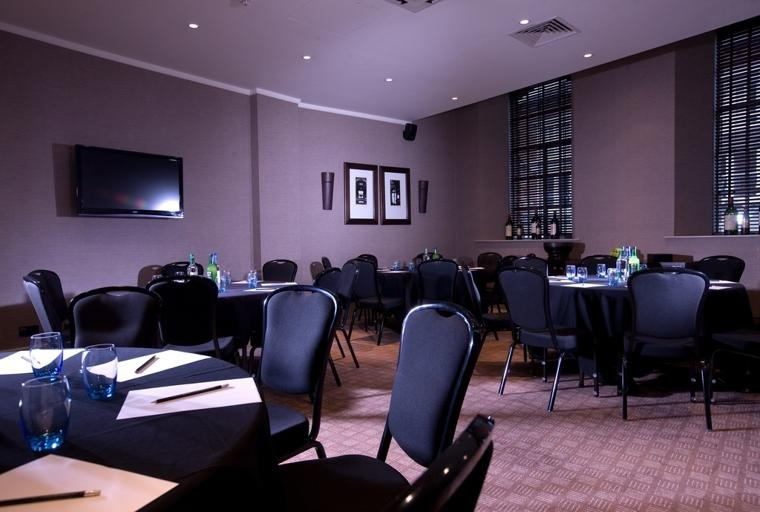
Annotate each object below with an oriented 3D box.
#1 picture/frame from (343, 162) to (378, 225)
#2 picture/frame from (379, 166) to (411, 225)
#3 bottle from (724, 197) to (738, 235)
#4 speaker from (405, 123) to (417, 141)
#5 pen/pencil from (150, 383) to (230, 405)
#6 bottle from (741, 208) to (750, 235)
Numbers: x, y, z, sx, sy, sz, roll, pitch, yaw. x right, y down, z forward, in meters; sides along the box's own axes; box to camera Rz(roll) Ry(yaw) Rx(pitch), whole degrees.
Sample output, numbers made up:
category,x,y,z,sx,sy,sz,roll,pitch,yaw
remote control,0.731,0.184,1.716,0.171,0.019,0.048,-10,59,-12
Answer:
category,x,y,z,sx,sy,sz,roll,pitch,yaw
picture/frame,-0.314,-1.080,8.779,0.838,1.049,0.205,-11,17,-36
picture/frame,0.285,-1.109,9.235,0.814,1.049,0.198,-12,17,-39
bottle,4.645,-0.544,6.697,0.169,0.466,0.367,8,16,34
speaker,0.587,-2.299,9.428,0.163,0.348,0.388,9,17,36
pen/pencil,-0.936,0.684,2.514,0.337,0.025,0.025,-7,21,-33
bottle,4.789,-0.462,6.653,0.113,0.314,0.234,9,17,37
